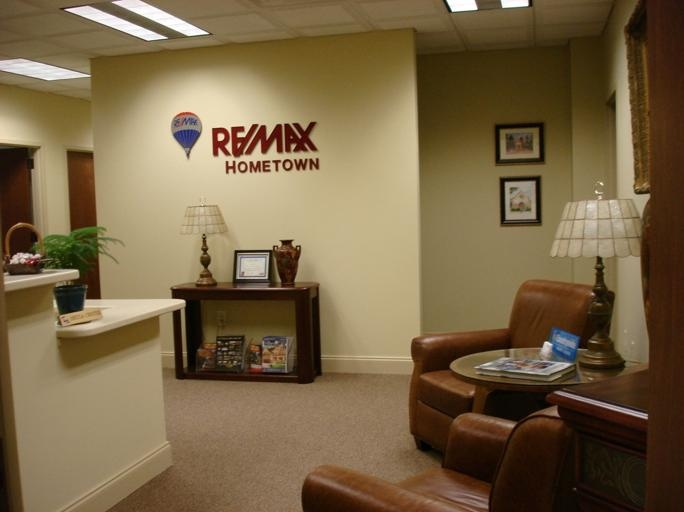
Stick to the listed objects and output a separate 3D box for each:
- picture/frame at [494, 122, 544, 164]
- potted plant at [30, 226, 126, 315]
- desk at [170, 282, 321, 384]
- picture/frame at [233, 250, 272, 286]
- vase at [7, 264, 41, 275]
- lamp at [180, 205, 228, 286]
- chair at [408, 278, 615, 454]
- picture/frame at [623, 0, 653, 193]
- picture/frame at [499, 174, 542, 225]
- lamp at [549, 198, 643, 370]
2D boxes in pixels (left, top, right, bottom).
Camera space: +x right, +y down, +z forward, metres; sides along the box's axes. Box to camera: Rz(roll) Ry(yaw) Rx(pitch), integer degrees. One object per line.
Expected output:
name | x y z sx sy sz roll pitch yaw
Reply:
picture/frame | 1.930 -1.229 5.478 0.433 0.401 0.043 0 2 11
potted plant | -1.560 0.108 2.957 0.464 0.500 0.473 -1 0 -27
desk | -0.918 0.719 4.969 1.342 0.994 0.544 1 5 6
picture/frame | -0.871 0.122 4.990 0.311 0.282 0.025 -1 -8 11
vase | -1.517 0.059 2.419 0.134 0.054 0.028 -4 5 -29
lamp | -1.362 -0.137 5.007 0.421 0.810 0.368 -1 4 3
chair | 1.033 0.710 3.187 1.014 1.083 0.875 0 0 -13
picture/frame | 1.805 -0.938 3.106 0.135 1.111 0.528 1 5 29
picture/frame | 1.956 -0.629 5.512 0.509 0.678 0.051 0 1 12
lamp | 1.301 0.120 2.611 0.396 0.873 0.365 1 5 31
